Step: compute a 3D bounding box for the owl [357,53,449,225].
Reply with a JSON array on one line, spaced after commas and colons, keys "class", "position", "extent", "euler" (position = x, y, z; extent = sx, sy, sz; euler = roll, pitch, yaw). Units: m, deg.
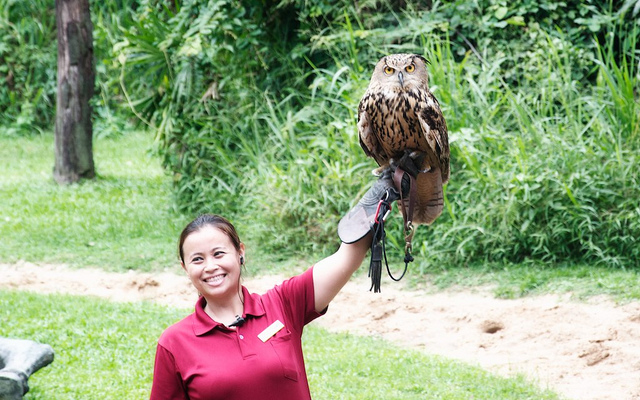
[{"class": "owl", "position": [0.793, -0.527, 6.372], "extent": [0.661, 1.439, 1.063], "euler": [1, 3, 24]}]
